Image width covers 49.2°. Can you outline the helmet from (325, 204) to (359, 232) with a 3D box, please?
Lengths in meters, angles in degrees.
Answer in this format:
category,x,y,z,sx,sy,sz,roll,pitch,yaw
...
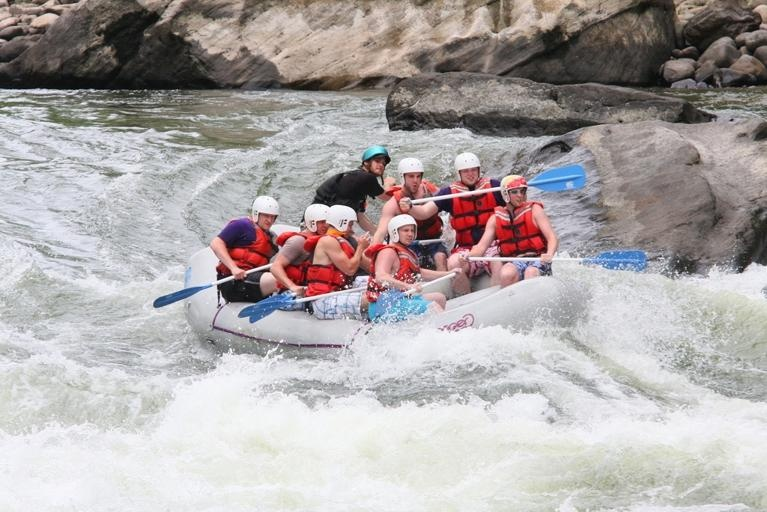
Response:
category,x,y,z,sx,sy,sz,roll,pitch,yaw
helmet,-0.512,-0.471,10.185,0.439,0.258,0.270,-6,17,-7

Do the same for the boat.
category,x,y,z,sx,sy,sz,roll,pitch,yaw
boat,-0.218,0.431,10.090,3.633,0.697,1.571,4,16,18

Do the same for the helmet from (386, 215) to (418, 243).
category,x,y,z,sx,sy,sz,roll,pitch,yaw
helmet,0.167,-0.344,10.218,0.319,0.262,0.402,6,-14,-42

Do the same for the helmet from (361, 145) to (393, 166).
category,x,y,z,sx,sy,sz,roll,pitch,yaw
helmet,-0.164,-1.474,11.852,0.453,0.190,0.326,-12,-26,38

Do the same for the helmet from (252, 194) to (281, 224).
category,x,y,z,sx,sy,sz,roll,pitch,yaw
helmet,-1.482,-0.642,10.852,0.340,0.287,0.413,-1,23,-28

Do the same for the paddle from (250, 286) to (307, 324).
category,x,y,z,sx,sy,sz,roll,pitch,yaw
paddle,-1.345,0.607,10.229,0.892,0.242,0.136,-18,2,-9

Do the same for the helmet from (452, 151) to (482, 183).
category,x,y,z,sx,sy,sz,roll,pitch,yaw
helmet,1.109,-1.211,11.276,0.395,0.374,0.444,-7,11,-3

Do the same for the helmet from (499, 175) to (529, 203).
category,x,y,z,sx,sy,sz,roll,pitch,yaw
helmet,1.665,-0.887,10.582,0.371,0.273,0.415,-5,5,-24
